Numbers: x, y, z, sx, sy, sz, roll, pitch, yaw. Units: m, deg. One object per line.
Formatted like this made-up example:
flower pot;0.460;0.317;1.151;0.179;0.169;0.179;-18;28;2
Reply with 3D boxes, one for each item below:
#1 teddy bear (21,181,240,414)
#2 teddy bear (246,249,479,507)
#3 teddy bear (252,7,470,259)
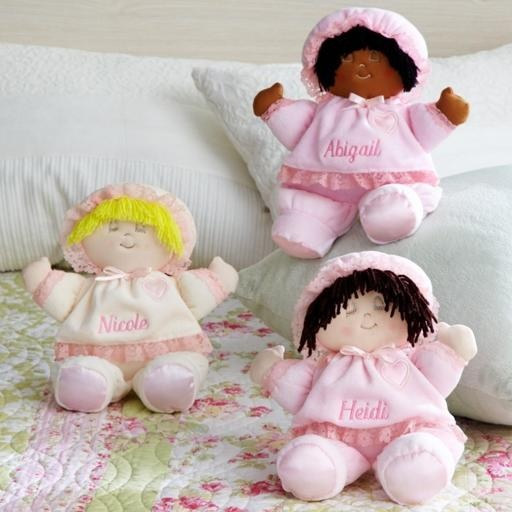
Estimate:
teddy bear;-0.241;0.068;1.108;0.380;0.305;0.379;11;37;2
teddy bear;0.146;0.159;0.967;0.488;0.332;0.348;-2;-3;8
teddy bear;0.206;-0.215;1.199;0.321;0.451;0.429;-3;41;-17
